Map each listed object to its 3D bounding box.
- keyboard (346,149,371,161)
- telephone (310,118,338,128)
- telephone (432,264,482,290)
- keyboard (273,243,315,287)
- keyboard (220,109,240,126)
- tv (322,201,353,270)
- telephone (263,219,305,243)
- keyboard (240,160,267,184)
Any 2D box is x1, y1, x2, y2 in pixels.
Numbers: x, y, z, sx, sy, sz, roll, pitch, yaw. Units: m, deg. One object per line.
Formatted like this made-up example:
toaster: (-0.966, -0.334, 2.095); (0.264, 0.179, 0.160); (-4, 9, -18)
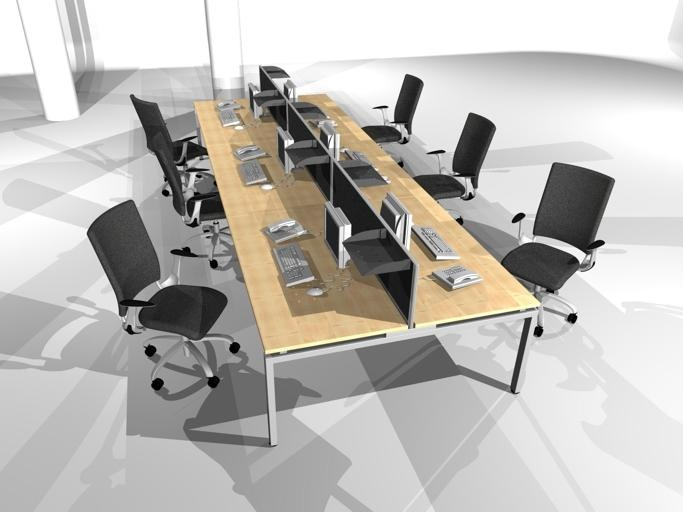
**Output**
keyboard: (0.171, -1.129, 5.370); (0.308, 0.063, 0.288); (-3, 27, -15)
telephone: (-0.237, -1.714, 6.140); (0.553, 0.098, 0.462); (-2, 21, -9)
telephone: (0.910, 0.170, 3.793); (0.274, 0.049, 0.221); (-11, 28, -18)
keyboard: (-0.412, 0.066, 3.955); (0.233, 0.050, 0.360); (-21, 65, -2)
keyboard: (-1.554, -1.899, 6.561); (0.269, 0.078, 0.412); (-4, 29, -11)
tv: (-0.031, -0.138, 3.902); (0.186, 0.408, 0.535); (-11, 31, -12)
telephone: (-0.529, -0.214, 4.291); (0.297, 0.061, 0.260); (-12, 29, -12)
keyboard: (-0.982, -0.900, 5.207); (0.338, 0.036, 0.513); (-5, 29, -11)
